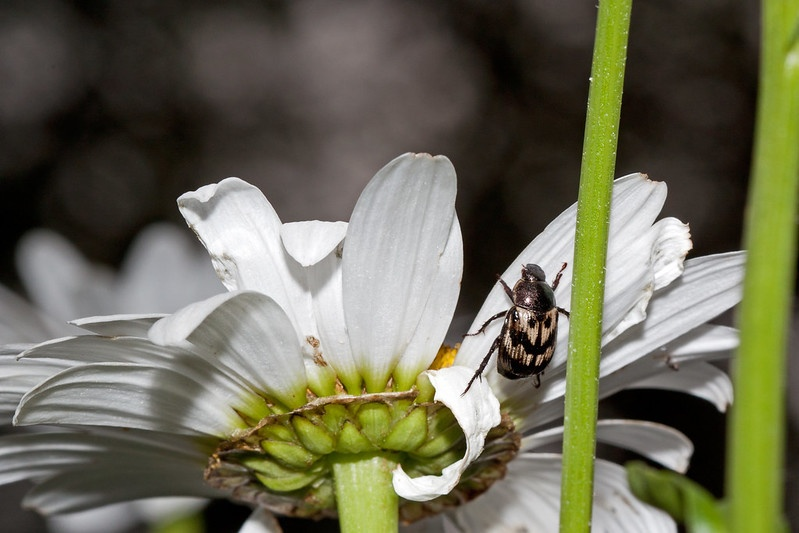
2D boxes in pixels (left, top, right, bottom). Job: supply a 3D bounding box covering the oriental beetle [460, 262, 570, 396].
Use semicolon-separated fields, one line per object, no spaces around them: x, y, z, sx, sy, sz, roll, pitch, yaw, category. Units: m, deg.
0.146;0.075;1.054;0.133;0.160;0.046;13;-4;-27;oriental beetle
